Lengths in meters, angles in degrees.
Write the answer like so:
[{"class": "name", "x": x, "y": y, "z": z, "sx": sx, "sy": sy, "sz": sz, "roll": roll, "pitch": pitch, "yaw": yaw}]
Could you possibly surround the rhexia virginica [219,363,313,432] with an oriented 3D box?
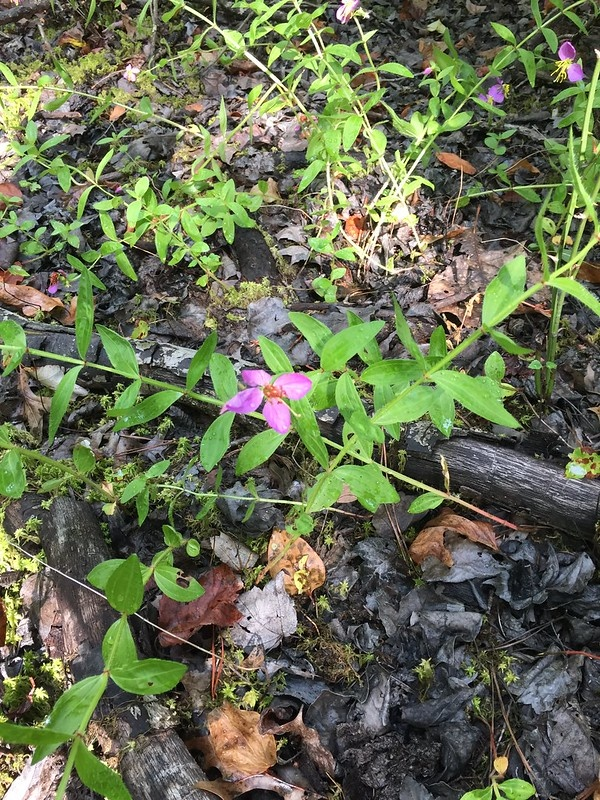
[{"class": "rhexia virginica", "x": -0.075, "y": -0.003, "z": 1.629, "sx": 0.210, "sy": 0.172, "sz": 0.114, "roll": 1, "pitch": 49, "yaw": 16}]
